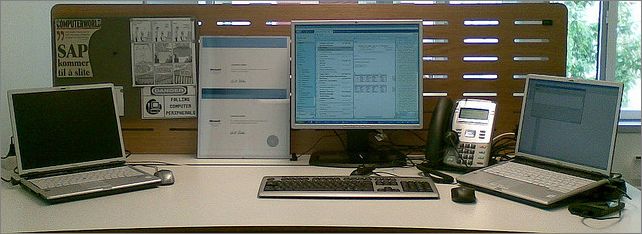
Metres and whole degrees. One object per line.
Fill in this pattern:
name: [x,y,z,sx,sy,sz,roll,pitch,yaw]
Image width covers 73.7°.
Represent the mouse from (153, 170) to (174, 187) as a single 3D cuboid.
mouse: [-1.341,0.527,3.700,0.200,0.100,0.126,-7,-4,29]
